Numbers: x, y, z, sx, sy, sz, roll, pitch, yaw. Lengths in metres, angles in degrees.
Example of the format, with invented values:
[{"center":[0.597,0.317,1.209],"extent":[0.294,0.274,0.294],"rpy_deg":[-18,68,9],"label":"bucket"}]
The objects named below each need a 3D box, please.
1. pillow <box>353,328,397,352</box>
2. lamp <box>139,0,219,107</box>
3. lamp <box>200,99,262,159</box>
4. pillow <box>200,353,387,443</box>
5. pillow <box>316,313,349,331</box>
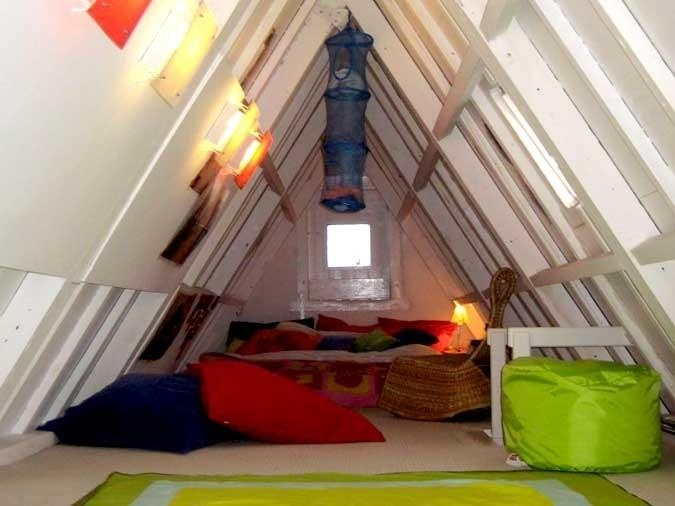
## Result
[{"center":[0.297,0.782,4.641],"extent":[0.409,0.161,0.367],"rpy_deg":[-1,-1,34],"label":"pillow"},{"center":[-0.571,-0.753,1.952],"extent":[0.199,0.335,0.317],"rpy_deg":[0,-1,0],"label":"lamp"},{"center":[-0.540,-0.617,2.579],"extent":[0.065,0.238,0.279],"rpy_deg":[32,19,20],"label":"lamp"},{"center":[-0.228,0.687,2.354],"extent":[0.667,0.204,0.395],"rpy_deg":[14,12,-25],"label":"pillow"},{"center":[-0.039,0.715,5.377],"extent":[0.321,0.132,0.244],"rpy_deg":[0,-1,0],"label":"pillow"}]
